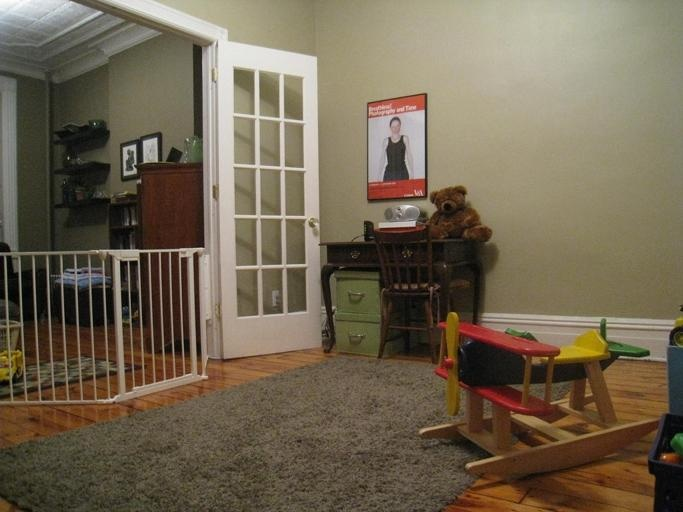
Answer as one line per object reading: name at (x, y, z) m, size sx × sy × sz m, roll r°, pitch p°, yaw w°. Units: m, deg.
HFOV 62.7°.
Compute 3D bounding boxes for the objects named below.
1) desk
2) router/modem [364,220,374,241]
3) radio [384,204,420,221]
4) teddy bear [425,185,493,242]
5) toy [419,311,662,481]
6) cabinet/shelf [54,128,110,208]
desk at (0.514, 0.275, 4.381) m, size 1.124 × 0.819 × 0.838 m, roll -1°, pitch 4°, yaw 31°
router/modem at (0.207, -0.189, 4.302) m, size 0.048 × 0.143 × 0.163 m, roll -4°, pitch -2°, yaw 23°
radio at (0.466, -0.325, 4.338) m, size 0.261 × 0.113 × 0.274 m, roll 3°, pitch 12°, yaw 21°
teddy bear at (0.837, -0.311, 4.228) m, size 0.488 × 0.455 × 0.274 m, roll -6°, pitch 6°, yaw 19°
toy at (0.932, 0.556, 2.694) m, size 0.959 × 0.654 × 0.698 m, roll 0°, pitch -2°, yaw -27°
cabinet/shelf at (-3.168, -1.077, 6.896) m, size 0.325 × 0.945 × 0.983 m, roll 6°, pitch -10°, yaw -44°
